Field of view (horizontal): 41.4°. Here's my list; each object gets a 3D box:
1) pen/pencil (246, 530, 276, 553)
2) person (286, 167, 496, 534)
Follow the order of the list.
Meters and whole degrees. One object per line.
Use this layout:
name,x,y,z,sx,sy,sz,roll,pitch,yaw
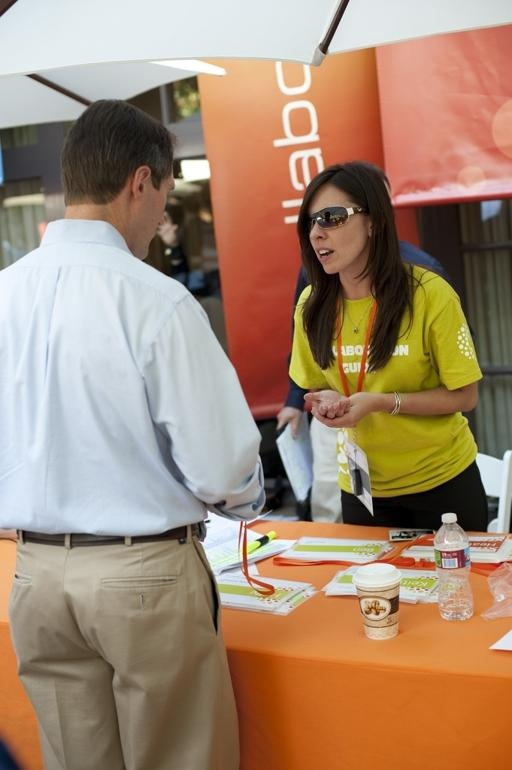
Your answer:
pen/pencil,0.019,0.433,1.878,0.025,0.022,0.138,-6,4,30
person,0.342,-0.075,1.835,0.473,1.034,0.505,-9,5,2
